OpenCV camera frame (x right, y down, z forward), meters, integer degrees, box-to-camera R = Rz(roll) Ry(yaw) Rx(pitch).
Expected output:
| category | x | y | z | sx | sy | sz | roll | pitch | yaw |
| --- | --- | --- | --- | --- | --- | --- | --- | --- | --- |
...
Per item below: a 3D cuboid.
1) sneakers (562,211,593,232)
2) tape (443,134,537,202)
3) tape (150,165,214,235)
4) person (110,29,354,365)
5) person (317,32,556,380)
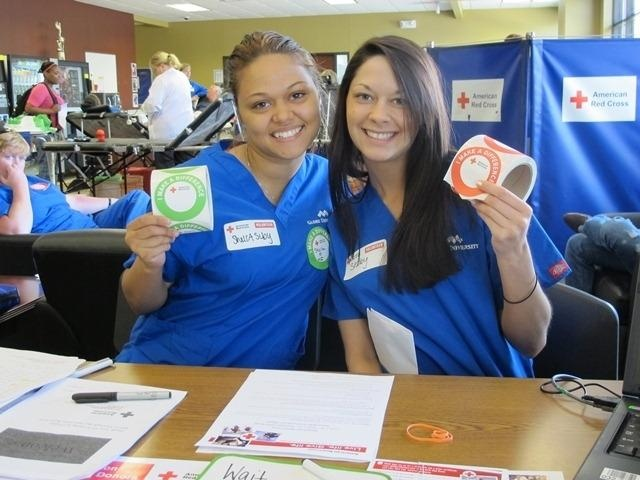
| category | x | y | z | sx | sy | sz | roll | pitch | yaw |
| --- | --- | --- | --- | --- | --- | --- | --- | --- | --- |
| sneakers | 1.602 | -0.111 | 3.114 | 0.134 | 0.106 | 0.151 | 3 | 4 | -42 |
| tape | 0.426 | -0.195 | 1.362 | 0.206 | 0.189 | 0.253 | 0 | 14 | -11 |
| tape | -0.364 | -0.098 | 1.315 | 0.154 | 0.182 | 0.092 | -6 | 16 | -10 |
| person | -0.250 | -0.065 | 1.710 | 0.524 | 1.273 | 0.613 | 0 | 4 | 16 |
| person | 0.477 | 0.021 | 1.700 | 0.607 | 1.217 | 0.636 | -11 | 29 | -44 |
